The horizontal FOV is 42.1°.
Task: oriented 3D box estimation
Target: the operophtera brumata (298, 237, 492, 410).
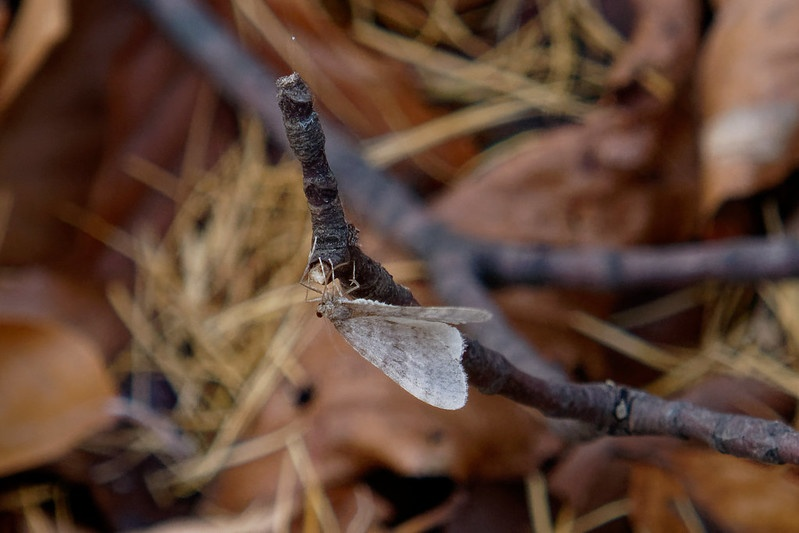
[{"bbox_3d":[0.013,0.022,1.024,0.169,0.161,0.078,46,49,5],"label":"operophtera brumata"}]
